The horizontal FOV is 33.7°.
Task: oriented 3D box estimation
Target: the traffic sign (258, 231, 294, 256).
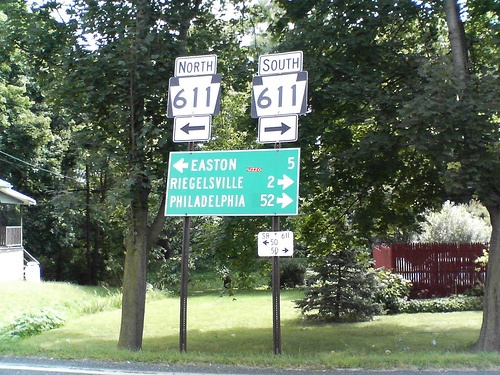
[{"bbox_3d":[0.773,1.676,24.616,1.114,0.751,0.032,-3,-13,21],"label":"traffic sign"}]
